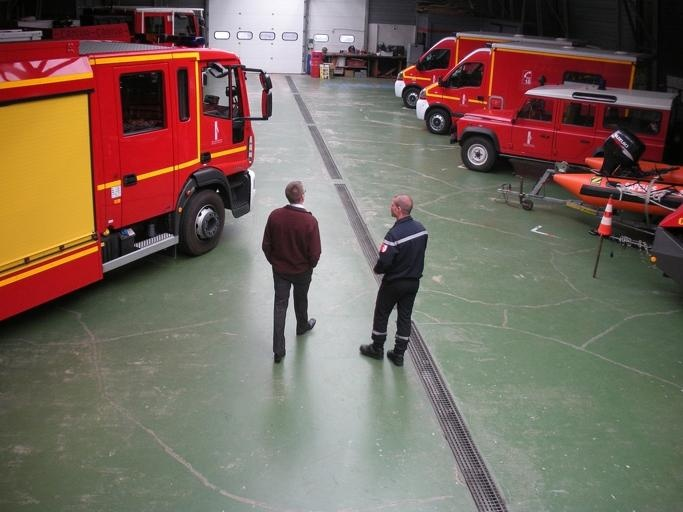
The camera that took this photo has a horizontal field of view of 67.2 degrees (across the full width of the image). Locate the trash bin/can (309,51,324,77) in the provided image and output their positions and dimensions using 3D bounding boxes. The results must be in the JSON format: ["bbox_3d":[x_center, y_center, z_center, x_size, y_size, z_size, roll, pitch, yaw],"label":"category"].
[{"bbox_3d":[-1.463,-11.067,30.004,0.609,1.422,0.362,3,20,-4],"label":"trash bin/can"}]

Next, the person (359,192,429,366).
[{"bbox_3d":[0.675,0.342,6.368,0.636,2.145,0.486,3,20,-2],"label":"person"}]

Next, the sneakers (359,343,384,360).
[{"bbox_3d":[0.416,1.220,6.741,0.155,0.161,0.368,-10,20,-38],"label":"sneakers"}]

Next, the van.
[{"bbox_3d":[5.849,-3.287,13.887,5.101,2.155,2.383,10,24,20],"label":"van"}]

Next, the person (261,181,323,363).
[{"bbox_3d":[-0.652,0.181,6.489,0.670,2.263,0.700,0,20,-12],"label":"person"}]

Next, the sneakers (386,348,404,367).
[{"bbox_3d":[0.700,1.307,6.598,0.126,0.114,0.272,-3,21,-15],"label":"sneakers"}]

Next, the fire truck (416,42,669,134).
[{"bbox_3d":[5.110,-4.968,16.808,7.873,2.969,2.566,-6,0,-16],"label":"fire truck"}]

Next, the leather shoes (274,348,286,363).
[{"bbox_3d":[-0.791,1.270,6.527,0.098,0.071,0.190,3,13,8],"label":"leather shoes"}]

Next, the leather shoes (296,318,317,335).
[{"bbox_3d":[-0.480,0.963,7.143,0.113,0.134,0.323,13,30,21],"label":"leather shoes"}]
